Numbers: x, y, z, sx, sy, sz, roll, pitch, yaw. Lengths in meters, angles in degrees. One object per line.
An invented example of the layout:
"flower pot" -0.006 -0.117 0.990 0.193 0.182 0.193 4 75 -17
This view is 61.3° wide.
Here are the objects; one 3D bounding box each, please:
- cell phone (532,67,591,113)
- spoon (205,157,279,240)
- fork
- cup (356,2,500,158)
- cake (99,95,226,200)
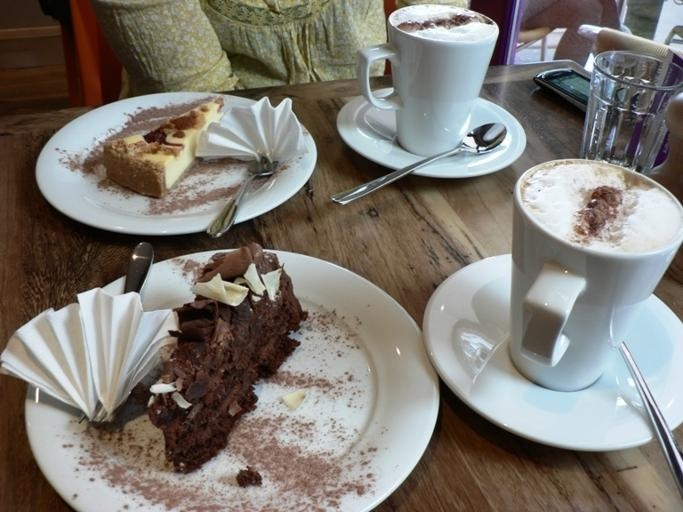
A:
"cell phone" 0.490 -0.356 1.296 0.084 0.045 0.141 -28 60 -31
"spoon" -0.170 -0.103 0.951 0.047 0.022 0.238 7 31 9
"fork" -0.299 0.086 0.780 0.029 0.024 0.294 16 46 -4
"cup" 0.145 -0.347 1.133 0.274 0.281 0.205 -11 39 -12
"cake" -0.322 -0.212 1.091 0.122 0.085 0.272 21 44 20
